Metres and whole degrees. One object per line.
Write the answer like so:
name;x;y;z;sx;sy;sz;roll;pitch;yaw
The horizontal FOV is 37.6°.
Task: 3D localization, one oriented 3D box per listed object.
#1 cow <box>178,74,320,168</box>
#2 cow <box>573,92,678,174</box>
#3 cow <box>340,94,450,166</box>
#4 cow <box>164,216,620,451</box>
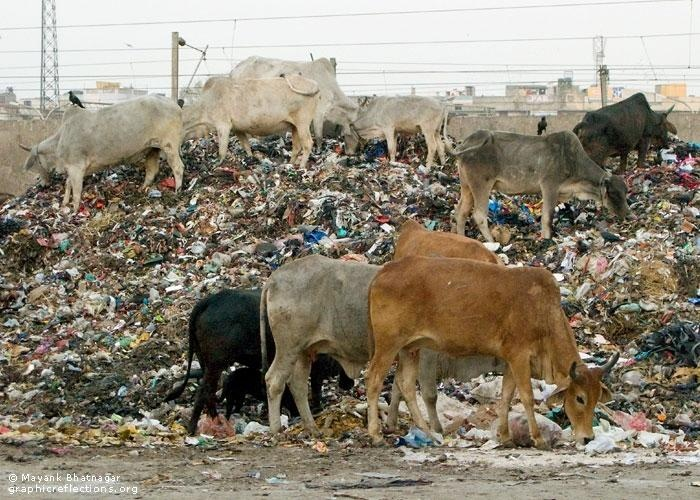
cow;-1.941;-2.182;17.565;2.802;1.560;0.877;0;15;7
cow;4.764;-1.957;17.749;2.470;1.480;0.834;-14;24;-29
cow;0.815;-2.114;18.101;1.788;1.370;0.566;2;18;14
cow;0.946;0.845;11.508;3.841;2.352;2.079;-2;0;9
